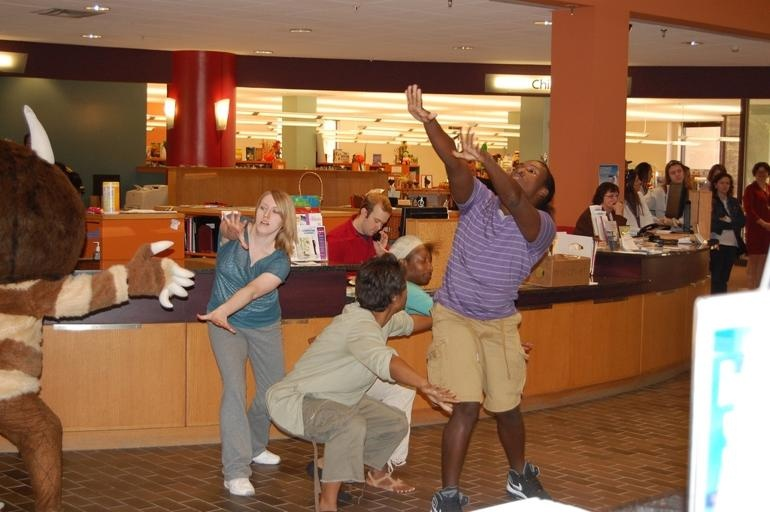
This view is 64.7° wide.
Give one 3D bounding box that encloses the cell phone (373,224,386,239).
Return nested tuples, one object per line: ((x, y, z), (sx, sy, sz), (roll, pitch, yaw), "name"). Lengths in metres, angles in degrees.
((-0.053, -0.224, 5.660), (0.068, 0.059, 0.219), (-46, -3, -29), "cell phone")

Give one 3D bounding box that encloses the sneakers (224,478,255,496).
((-0.889, 1.404, 3.735), (0.182, 0.092, 0.177), (-2, 8, -16), "sneakers")

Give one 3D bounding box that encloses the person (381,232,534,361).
((0.421, 0.262, 3.629), (0.931, 0.862, 0.508), (10, 7, 30), "person")

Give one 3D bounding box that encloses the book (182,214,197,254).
((-2.251, -0.239, 7.071), (0.079, 0.338, 0.336), (0, 4, -7), "book")

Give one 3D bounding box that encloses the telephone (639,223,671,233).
((3.362, -0.349, 7.648), (0.327, 0.078, 0.326), (-2, 2, 9), "telephone")

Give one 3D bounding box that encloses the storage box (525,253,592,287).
((1.526, 0.133, 5.232), (0.354, 0.159, 0.346), (0, -1, -43), "storage box")

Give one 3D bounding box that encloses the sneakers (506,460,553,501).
((0.866, 1.341, 3.566), (0.133, 0.208, 0.337), (18, -18, -24), "sneakers")

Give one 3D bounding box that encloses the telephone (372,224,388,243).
((-0.032, -0.200, 5.755), (0.125, 0.112, 0.212), (-7, 3, -1), "telephone")

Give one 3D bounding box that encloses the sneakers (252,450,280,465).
((-0.808, 1.376, 4.153), (0.167, 0.072, 0.095), (0, 2, 1), "sneakers")

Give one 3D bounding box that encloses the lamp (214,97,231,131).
((-2.898, -2.561, 10.942), (0.297, 0.567, 0.252), (-2, 7, -17), "lamp")

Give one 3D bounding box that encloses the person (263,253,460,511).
((-0.192, 0.763, 3.319), (0.880, 1.495, 0.899), (-1, 7, -12), "person")

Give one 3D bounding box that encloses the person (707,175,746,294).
((5.086, -0.330, 9.085), (0.484, 1.840, 0.980), (4, 8, 30), "person")

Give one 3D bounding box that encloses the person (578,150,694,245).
((3.548, -0.674, 8.251), (1.543, 1.044, 1.502), (-1, -1, 33), "person")

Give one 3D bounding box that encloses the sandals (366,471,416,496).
((0.041, 1.402, 3.821), (0.291, 0.199, 0.115), (-1, 1, 16), "sandals")

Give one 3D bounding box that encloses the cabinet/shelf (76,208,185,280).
((-2.770, -0.029, 6.566), (0.665, 0.945, 1.019), (13, 12, 43), "cabinet/shelf")
